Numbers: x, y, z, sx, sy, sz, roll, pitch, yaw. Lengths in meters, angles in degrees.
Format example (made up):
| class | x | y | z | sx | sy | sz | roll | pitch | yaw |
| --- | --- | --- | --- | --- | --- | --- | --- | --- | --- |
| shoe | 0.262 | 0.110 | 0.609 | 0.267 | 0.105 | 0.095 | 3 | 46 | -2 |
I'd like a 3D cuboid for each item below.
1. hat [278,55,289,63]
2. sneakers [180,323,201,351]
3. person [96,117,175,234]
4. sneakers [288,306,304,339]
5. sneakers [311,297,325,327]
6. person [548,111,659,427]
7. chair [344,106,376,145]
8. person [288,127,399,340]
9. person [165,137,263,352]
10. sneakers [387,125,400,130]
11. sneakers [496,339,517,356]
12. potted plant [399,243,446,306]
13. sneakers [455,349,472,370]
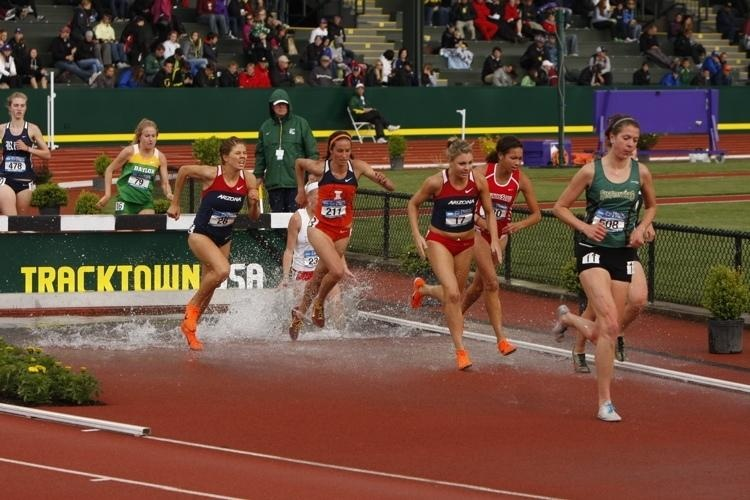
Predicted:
| class | x | y | z | sx | sy | sz | roll | pitch | yaw |
| --- | --- | --- | --- | --- | --- | --- | --- | --- | --- |
| hat | -3.310 | -6.982 | 33.011 | 0.340 | 0.241 | 0.433 | -5 | 5 | -42 |
| sneakers | -2.186 | 1.037 | 11.077 | 0.210 | 0.273 | 0.414 | -3 | 8 | -24 |
| person | -3.507 | -1.227 | 13.528 | 0.940 | 1.396 | 0.968 | -1 | 7 | -15 |
| sneakers | -0.979 | 0.907 | 11.668 | 0.142 | 0.432 | 0.173 | 16 | -33 | -36 |
| sneakers | -0.682 | 0.788 | 11.704 | 0.133 | 0.369 | 0.163 | -4 | -23 | -33 |
| person | 2.199 | 0.118 | 8.796 | 0.787 | 2.799 | 1.195 | 3 | 7 | 21 |
| chair | -0.419 | -4.662 | 34.076 | 1.181 | 1.776 | 1.263 | -3 | 4 | -42 |
| person | -0.526 | -0.181 | 11.585 | 1.092 | 2.648 | 1.172 | 0 | 7 | -6 |
| person | -1.940 | -0.123 | 11.356 | 1.048 | 2.546 | 0.945 | -1 | 7 | -13 |
| sneakers | 0.681 | -4.628 | 34.112 | 0.556 | 0.179 | 0.242 | -5 | -14 | 7 |
| sneakers | 1.505 | 1.117 | 10.549 | 0.134 | 0.121 | 0.265 | -35 | 7 | -5 |
| potted plant | 0.560 | 0.345 | 15.228 | 0.674 | 0.900 | 0.841 | 6 | -14 | -44 |
| sneakers | 0.985 | 1.216 | 10.151 | 0.157 | 0.240 | 0.200 | 1 | 7 | 5 |
